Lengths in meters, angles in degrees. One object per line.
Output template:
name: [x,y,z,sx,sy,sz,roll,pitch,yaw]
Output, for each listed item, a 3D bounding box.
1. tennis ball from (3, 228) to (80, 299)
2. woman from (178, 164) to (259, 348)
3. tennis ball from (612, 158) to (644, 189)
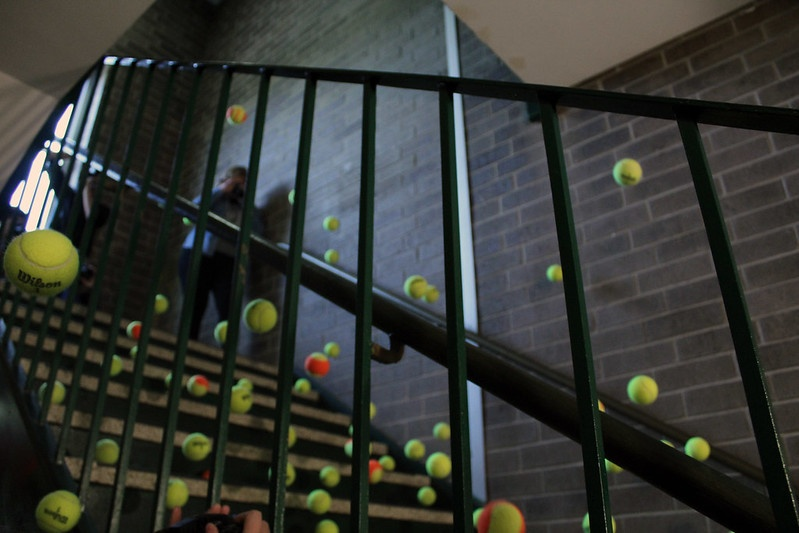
tennis ball: [-1.040,-0.010,1.690,0.187,0.194,0.191,-5,-37,-4]
woman: [-1.306,-0.010,4.115,0.518,1.649,0.461,1,-29,-5]
tennis ball: [1.119,-0.443,2.813,0.142,0.173,0.141,12,-7,1]
